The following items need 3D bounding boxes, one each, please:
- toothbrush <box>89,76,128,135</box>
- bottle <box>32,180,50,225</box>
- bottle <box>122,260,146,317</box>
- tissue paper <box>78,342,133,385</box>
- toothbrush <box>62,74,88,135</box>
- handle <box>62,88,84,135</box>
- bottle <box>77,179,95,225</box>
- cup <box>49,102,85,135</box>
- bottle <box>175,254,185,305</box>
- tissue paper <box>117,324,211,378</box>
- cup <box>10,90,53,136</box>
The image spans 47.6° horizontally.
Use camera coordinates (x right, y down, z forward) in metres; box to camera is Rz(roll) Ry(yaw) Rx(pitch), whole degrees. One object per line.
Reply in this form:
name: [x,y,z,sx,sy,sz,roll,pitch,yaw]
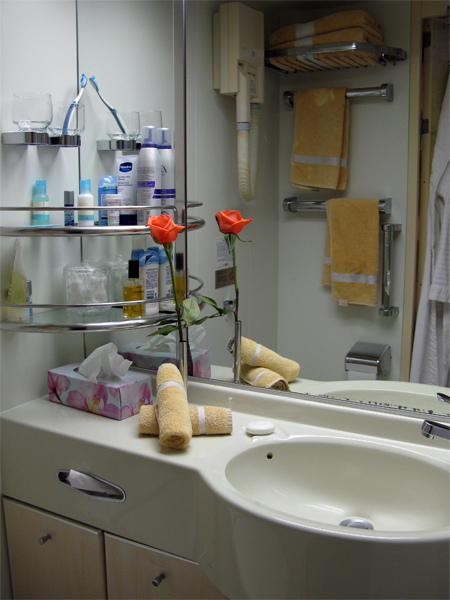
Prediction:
toothbrush: [-0.313,-0.519,1.353,0.018,0.195,0.021,-33,-12,15]
bottle: [-0.451,-0.237,1.243,0.041,0.103,0.097,-2,8,-19]
bottle: [-0.225,-0.030,1.218,0.055,0.135,0.041,6,9,39]
tissue paper: [-0.314,0.166,1.261,0.127,0.091,0.128,-10,4,-9]
toothbrush: [-0.363,-0.505,1.269,0.021,0.229,0.038,6,-22,-1]
handle: [-0.374,-0.460,1.248,0.015,0.162,0.027,14,3,-37]
bottle: [-0.334,-0.232,1.221,0.029,0.119,0.032,12,33,6]
cup: [-0.376,-0.434,1.219,0.051,0.094,0.096,3,6,17]
bottle: [-0.114,-0.052,1.263,0.029,0.131,0.028,1,16,0]
tissue paper: [-0.168,0.126,1.415,0.321,0.147,0.043,5,9,29]
cup: [-0.421,-0.415,1.170,0.090,0.115,0.096,3,7,0]
